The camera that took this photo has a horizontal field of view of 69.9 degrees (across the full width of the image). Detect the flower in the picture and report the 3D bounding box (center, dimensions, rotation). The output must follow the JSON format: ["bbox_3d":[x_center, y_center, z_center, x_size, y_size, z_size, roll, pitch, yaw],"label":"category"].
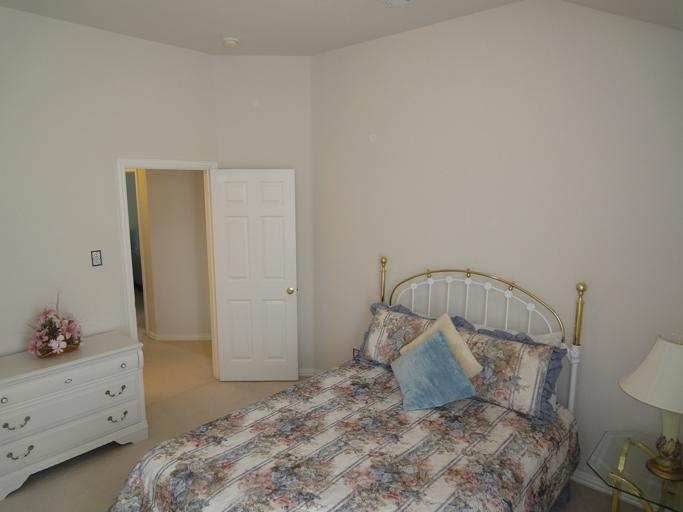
[{"bbox_3d":[-2.404,0.572,4.011,0.384,0.362,0.380,-6,12,-43],"label":"flower"}]
